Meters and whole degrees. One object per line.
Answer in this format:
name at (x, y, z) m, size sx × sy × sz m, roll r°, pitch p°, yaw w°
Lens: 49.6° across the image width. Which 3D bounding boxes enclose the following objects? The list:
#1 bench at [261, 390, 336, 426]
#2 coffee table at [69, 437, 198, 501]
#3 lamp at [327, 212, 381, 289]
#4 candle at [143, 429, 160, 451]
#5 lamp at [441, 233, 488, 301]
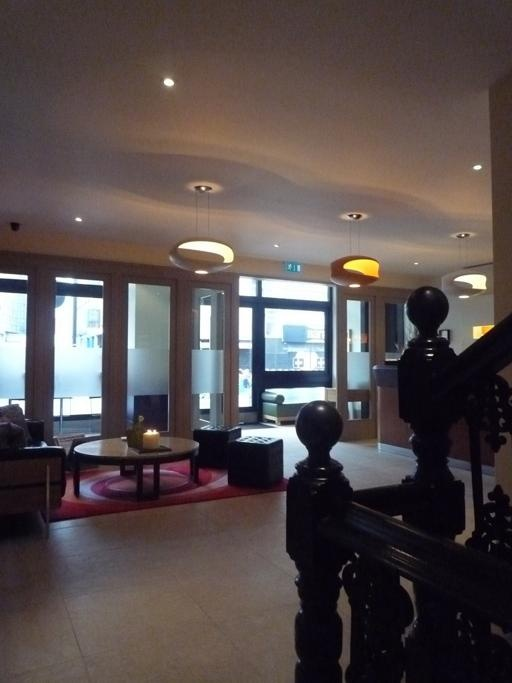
bench at (0.705, 1.198, 10.194) m, size 1.099 × 0.648 × 0.689 m, roll 1°, pitch -2°, yaw -19°
coffee table at (-1.066, 1.091, 4.942) m, size 1.144 × 0.467 × 1.284 m, roll 2°, pitch -3°, yaw -39°
lamp at (0.928, -0.871, 5.280) m, size 0.424 × 0.702 × 0.462 m, roll -5°, pitch 10°, yaw -12°
candle at (-0.881, 0.834, 4.693) m, size 0.122 × 0.152 × 0.125 m, roll -1°, pitch -1°, yaw -22°
lamp at (2.374, -0.875, 6.335) m, size 0.441 × 0.722 × 0.468 m, roll -3°, pitch 16°, yaw 15°
